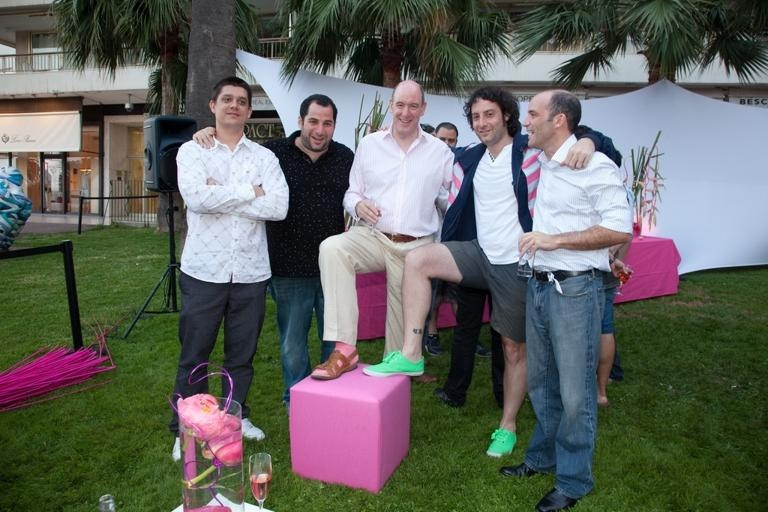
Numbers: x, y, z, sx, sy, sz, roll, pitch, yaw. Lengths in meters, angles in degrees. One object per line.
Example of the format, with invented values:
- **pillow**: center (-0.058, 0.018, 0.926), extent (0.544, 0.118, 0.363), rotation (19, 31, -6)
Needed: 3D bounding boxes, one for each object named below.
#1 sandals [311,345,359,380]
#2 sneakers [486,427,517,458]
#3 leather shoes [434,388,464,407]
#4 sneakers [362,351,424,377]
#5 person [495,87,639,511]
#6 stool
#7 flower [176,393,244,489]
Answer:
- **sandals**: center (-0.384, 0.838, 4.352), extent (0.179, 0.230, 0.449), rotation (4, 7, 39)
- **sneakers**: center (0.977, 1.550, 4.425), extent (0.138, 0.131, 0.296), rotation (-4, -1, 31)
- **leather shoes**: center (0.628, 1.371, 5.117), extent (0.270, 0.117, 0.121), rotation (28, 18, 37)
- **sneakers**: center (0.095, 0.895, 4.415), extent (0.538, 0.253, 0.198), rotation (3, -8, -10)
- **person**: center (1.359, 0.317, 3.930), extent (0.786, 3.037, 0.584), rotation (7, 11, 27)
- **stool**: center (-0.274, 1.343, 4.409), extent (0.984, 0.819, 1.004), rotation (-6, 13, -34)
- **flower**: center (-1.005, 1.230, 3.216), extent (0.264, 0.524, 0.298), rotation (-7, -16, 8)
